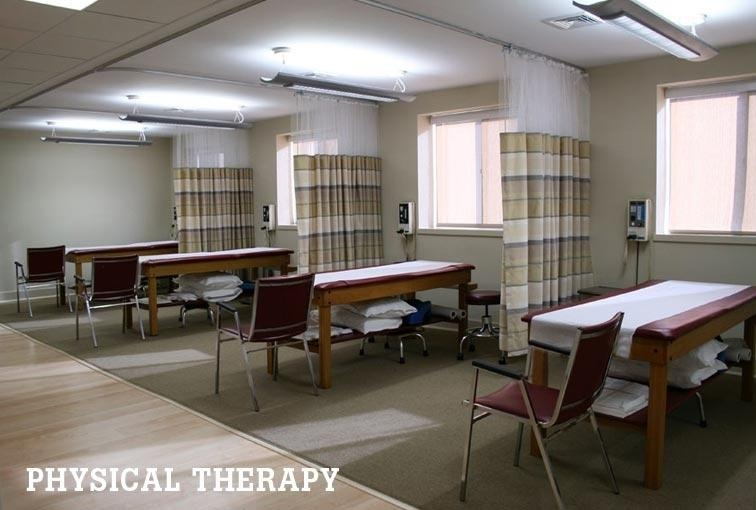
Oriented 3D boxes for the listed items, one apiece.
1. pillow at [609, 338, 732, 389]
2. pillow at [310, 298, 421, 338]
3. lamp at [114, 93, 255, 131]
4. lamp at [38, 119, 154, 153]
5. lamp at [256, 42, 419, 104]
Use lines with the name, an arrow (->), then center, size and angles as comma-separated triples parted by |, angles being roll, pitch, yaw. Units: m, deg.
pillow -> 2.223, 0.831, 4.077 | 0.605, 0.167, 0.586 | -3, 2, -35
pillow -> -0.118, 0.682, 5.931 | 0.744, 0.206, 0.515 | -5, 5, -31
lamp -> -3.115, -2.121, 8.310 | 0.906, 0.193, 2.094 | 6, 13, 32
lamp -> -5.321, -2.304, 10.147 | 1.847, 0.446, 2.418 | -6, 12, -26
lamp -> -0.488, -2.157, 6.443 | 0.941, 0.460, 2.235 | 5, 12, 27
